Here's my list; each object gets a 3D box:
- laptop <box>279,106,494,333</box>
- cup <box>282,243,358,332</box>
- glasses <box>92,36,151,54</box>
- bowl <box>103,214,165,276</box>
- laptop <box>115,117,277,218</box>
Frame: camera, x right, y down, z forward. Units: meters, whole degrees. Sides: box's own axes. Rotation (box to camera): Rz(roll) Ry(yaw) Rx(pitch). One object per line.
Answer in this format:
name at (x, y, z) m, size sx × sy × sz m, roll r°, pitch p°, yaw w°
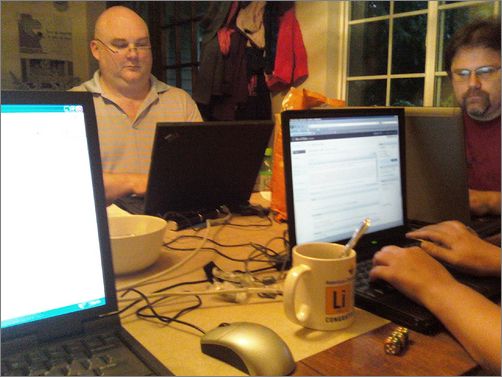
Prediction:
laptop at (0.270, 0.047, 1.090) m, size 0.613 × 0.467 × 0.482 m, roll -1°, pitch 5°, yaw -26°
cup at (0.117, 0.208, 0.751) m, size 0.114 × 0.134 × 0.187 m, roll -2°, pitch -2°, yaw 41°
glasses at (-0.734, -0.797, 2.113) m, size 0.306 × 0.102 × 0.103 m, roll -3°, pitch 11°, yaw -2°
bowl at (-0.288, 0.129, 0.958) m, size 0.157 × 0.086 × 0.149 m, roll 0°, pitch 2°, yaw 0°
laptop at (-0.167, -0.121, 1.274) m, size 0.411 × 0.279 × 0.392 m, roll -7°, pitch 16°, yaw -36°
